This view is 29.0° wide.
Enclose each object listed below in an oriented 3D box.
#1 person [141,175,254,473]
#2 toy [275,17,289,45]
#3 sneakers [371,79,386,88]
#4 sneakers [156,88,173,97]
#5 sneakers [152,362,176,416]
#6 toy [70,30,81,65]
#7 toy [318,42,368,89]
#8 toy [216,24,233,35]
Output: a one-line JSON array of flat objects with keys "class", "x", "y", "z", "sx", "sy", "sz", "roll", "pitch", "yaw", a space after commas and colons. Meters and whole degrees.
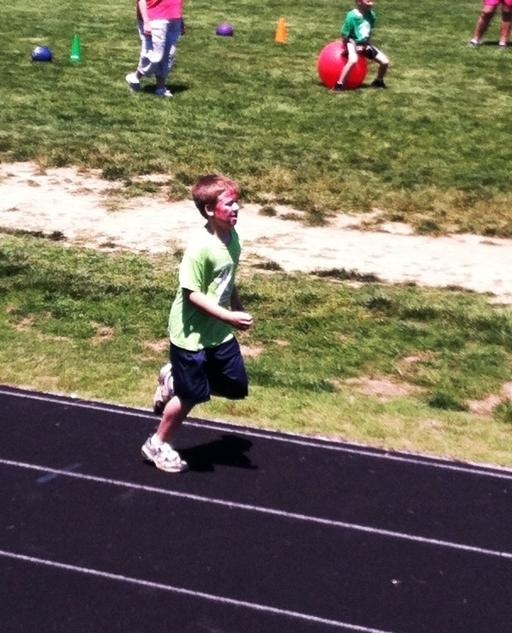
[{"class": "person", "x": -0.298, "y": 0.102, "z": 5.470, "sx": 0.575, "sy": 1.695, "sz": 0.514, "roll": 8, "pitch": 18, "yaw": 0}, {"class": "toy", "x": 0.512, "y": -5.483, "z": 19.056, "sx": 0.252, "sy": 0.454, "sz": 0.791, "roll": 8, "pitch": 21, "yaw": -1}, {"class": "sneakers", "x": 2.003, "y": -3.729, "z": 15.938, "sx": 0.171, "sy": 0.202, "sz": 0.116, "roll": -1, "pitch": 14, "yaw": -4}, {"class": "sneakers", "x": -1.371, "y": -3.260, "z": 14.566, "sx": 0.121, "sy": 0.099, "sz": 0.225, "roll": 2, "pitch": 9, "yaw": -28}, {"class": "sneakers", "x": -0.511, "y": 0.428, "z": 5.648, "sx": 0.108, "sy": 0.296, "sz": 0.083, "roll": -2, "pitch": 21, "yaw": -17}, {"class": "toy", "x": -2.941, "y": -4.328, "z": 16.073, "sx": 0.166, "sy": 0.357, "sz": 0.622, "roll": 4, "pitch": 21, "yaw": -12}, {"class": "toy", "x": 1.290, "y": -3.843, "z": 15.380, "sx": 0.682, "sy": 0.938, "sz": 0.738, "roll": -1, "pitch": 0, "yaw": -11}, {"class": "toy", "x": -0.602, "y": -5.466, "z": 19.020, "sx": 0.320, "sy": 0.201, "sz": 0.468, "roll": 8, "pitch": 21, "yaw": -6}]
